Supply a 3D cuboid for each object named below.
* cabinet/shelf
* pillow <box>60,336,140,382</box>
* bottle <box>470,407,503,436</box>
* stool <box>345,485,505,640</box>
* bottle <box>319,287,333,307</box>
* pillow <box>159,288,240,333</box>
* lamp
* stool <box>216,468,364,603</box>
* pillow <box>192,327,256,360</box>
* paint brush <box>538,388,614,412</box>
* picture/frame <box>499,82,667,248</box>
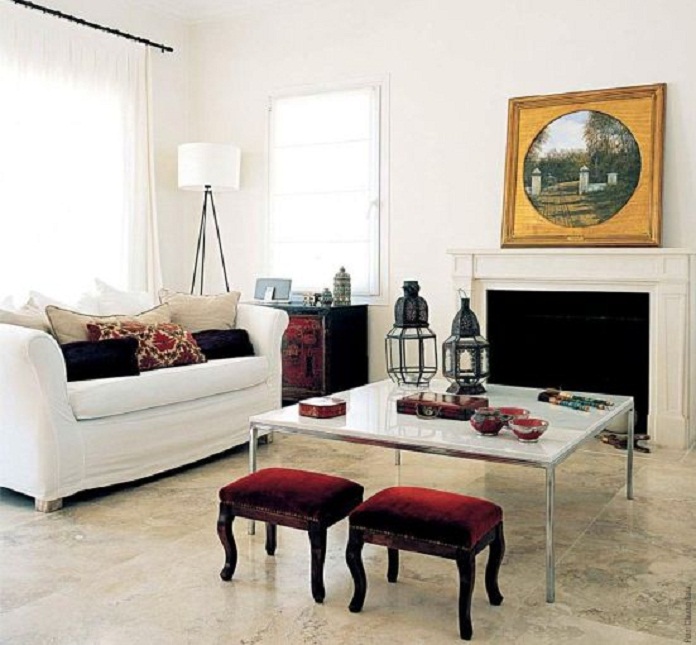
[{"bbox_3d":[-0.217,0.233,5.098,1.037,1.042,0.729,0,1,31],"label":"cabinet/shelf"},{"bbox_3d":[-1.254,0.188,3.035,0.242,0.075,0.251,-3,28,-25],"label":"pillow"},{"bbox_3d":[0.495,0.352,2.146,0.114,0.089,0.110,0,2,0],"label":"bottle"},{"bbox_3d":[0.242,0.647,1.844,0.382,0.343,0.397,1,-1,32],"label":"stool"},{"bbox_3d":[-0.186,-0.208,4.914,0.127,0.167,0.128,0,2,0],"label":"bottle"},{"bbox_3d":[-1.010,-0.073,4.085,0.383,0.312,0.134,-1,-23,1],"label":"pillow"},{"bbox_3d":[-1.263,-0.948,5.569,0.551,1.345,0.836,-1,3,-12],"label":"lamp"},{"bbox_3d":[-0.184,0.644,2.079,0.390,0.351,0.405,2,1,29],"label":"stool"},{"bbox_3d":[-0.787,0.135,3.836,0.234,0.070,0.234,-6,23,-24],"label":"pillow"},{"bbox_3d":[0.980,0.340,2.655,0.108,0.035,0.203,-2,2,-34],"label":"paint brush"},{"bbox_3d":[1.673,-1.075,4.167,1.239,1.292,0.094,0,-5,29],"label":"picture/frame"}]
